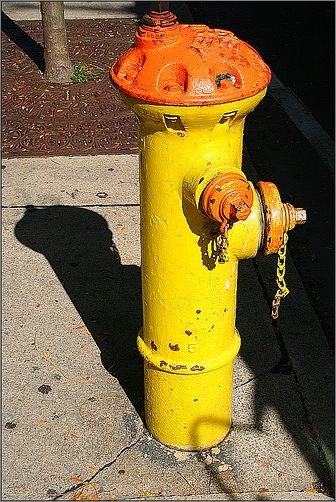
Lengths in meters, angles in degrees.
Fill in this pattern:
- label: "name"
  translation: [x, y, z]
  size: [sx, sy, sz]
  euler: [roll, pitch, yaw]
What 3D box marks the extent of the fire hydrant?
- label: "fire hydrant"
  translation: [0.126, 0.083, 2.308]
  size: [0.535, 2.060, 0.774]
  euler: [-17, 49, -22]
